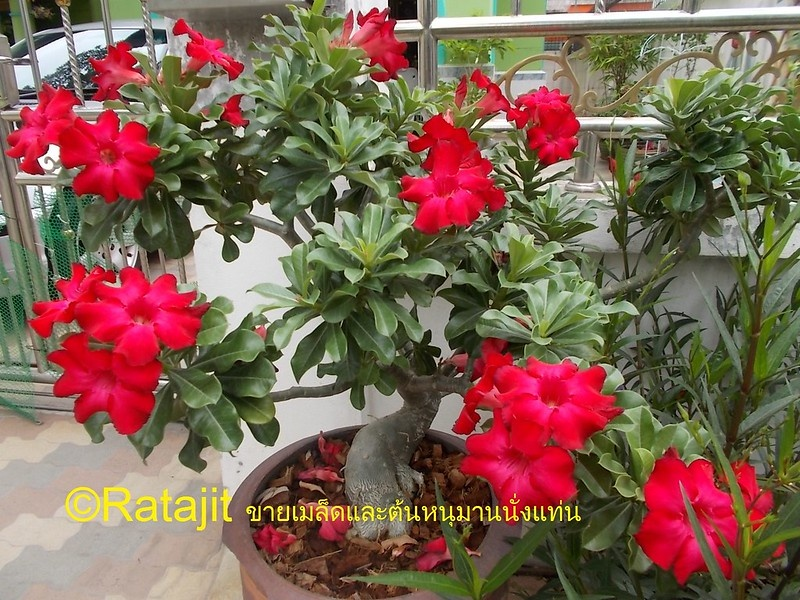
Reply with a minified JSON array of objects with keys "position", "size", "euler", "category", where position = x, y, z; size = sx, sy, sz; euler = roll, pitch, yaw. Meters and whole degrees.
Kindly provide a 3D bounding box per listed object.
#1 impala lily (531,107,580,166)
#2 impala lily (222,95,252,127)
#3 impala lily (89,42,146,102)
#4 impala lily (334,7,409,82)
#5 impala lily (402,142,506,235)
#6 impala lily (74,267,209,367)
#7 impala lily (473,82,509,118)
[{"position":[0.384,-0.411,1.316],"size":[0.121,0.138,0.094],"euler":[2,18,14],"category":"impala lily"},{"position":[-0.362,-0.411,1.149],"size":[0.030,0.079,0.075],"euler":[-2,-9,26],"category":"impala lily"},{"position":[-0.595,-0.485,1.102],"size":[0.106,0.116,0.114],"euler":[-11,20,-25],"category":"impala lily"},{"position":[-0.055,-0.574,1.206],"size":[0.165,0.128,0.134],"euler":[9,16,5],"category":"impala lily"},{"position":[0.109,-0.219,1.024],"size":[0.138,0.183,0.225],"euler":[14,24,43],"category":"impala lily"},{"position":[-0.416,0.031,0.835],"size":[0.160,0.056,0.172],"euler":[33,51,-1],"category":"impala lily"},{"position":[0.217,-0.460,1.207],"size":[0.077,0.070,0.078],"euler":[0,18,8],"category":"impala lily"}]
